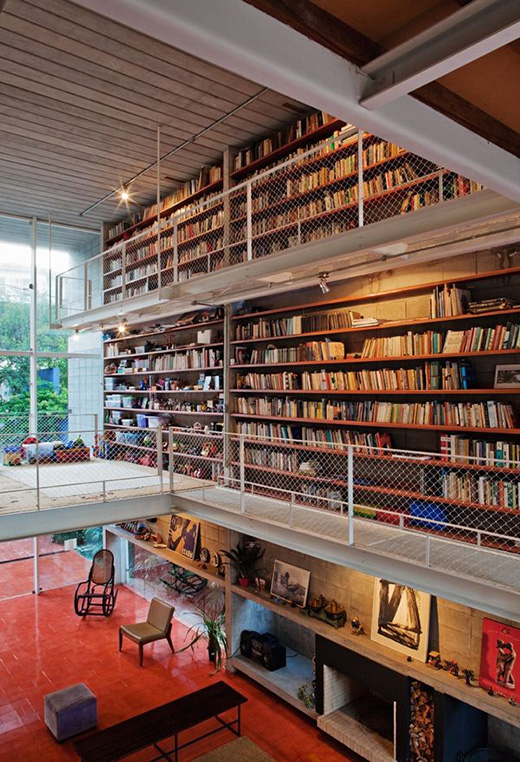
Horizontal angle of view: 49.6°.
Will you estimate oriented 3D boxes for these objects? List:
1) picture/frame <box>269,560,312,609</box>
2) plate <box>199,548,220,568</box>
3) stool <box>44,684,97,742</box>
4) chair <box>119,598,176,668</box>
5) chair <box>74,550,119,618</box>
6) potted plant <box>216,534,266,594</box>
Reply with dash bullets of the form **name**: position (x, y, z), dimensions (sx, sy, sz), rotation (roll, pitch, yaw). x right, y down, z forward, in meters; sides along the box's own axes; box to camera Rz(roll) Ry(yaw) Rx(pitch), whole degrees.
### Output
- **picture/frame**: position (0.357, 2.300, 6.357), dimensions (0.024, 0.491, 0.676), rotation (12, -6, -32)
- **plate**: position (-0.673, 2.368, 7.558), dimensions (0.049, 0.177, 0.292), rotation (6, -8, -29)
- **stool**: position (-2.081, 3.581, 6.167), dimensions (0.434, 0.386, 0.443), rotation (4, -11, -38)
- **chair**: position (-1.540, 3.486, 7.832), dimensions (0.674, 0.653, 0.697), rotation (0, -2, -40)
- **chair**: position (-2.828, 3.360, 9.628), dimensions (0.688, 1.065, 1.608), rotation (-1, -2, -17)
- **potted plant**: position (-0.189, 2.243, 7.020), dimensions (0.534, 0.543, 0.553), rotation (-3, -2, 36)
